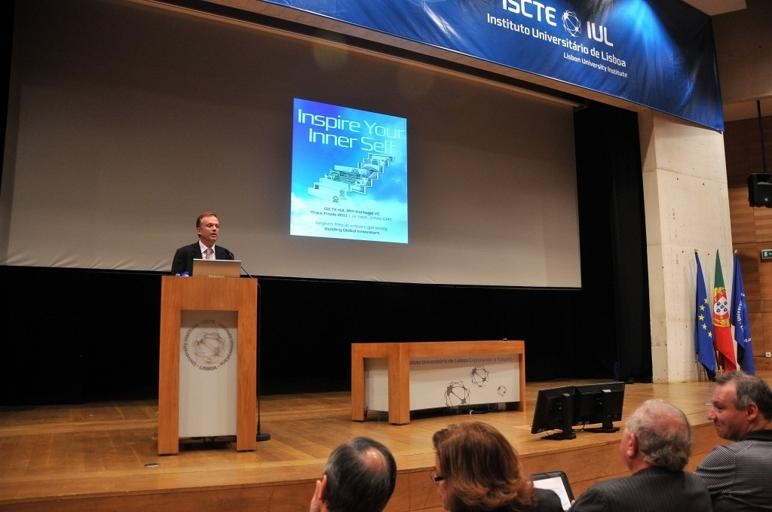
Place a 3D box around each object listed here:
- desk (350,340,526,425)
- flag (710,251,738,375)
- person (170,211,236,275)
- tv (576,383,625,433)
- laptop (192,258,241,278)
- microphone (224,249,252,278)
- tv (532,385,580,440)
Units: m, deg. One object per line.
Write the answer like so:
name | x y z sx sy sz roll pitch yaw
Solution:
desk | 0.602 1.350 6.162 1.909 0.827 0.625 1 -9 -22
flag | 5.634 0.910 9.375 0.280 1.993 0.475 -7 -9 36
person | -1.966 -0.146 5.857 0.686 0.790 0.365 4 -8 -40
tv | 2.033 1.422 5.226 0.528 0.431 0.301 -1 2 -15
laptop | -1.419 0.106 4.657 0.384 0.166 0.154 -1 -8 -11
microphone | -1.588 0.073 5.967 0.261 0.031 0.290 23 31 -3
tv | 1.588 1.424 5.079 0.530 0.463 0.250 2 -2 -40
